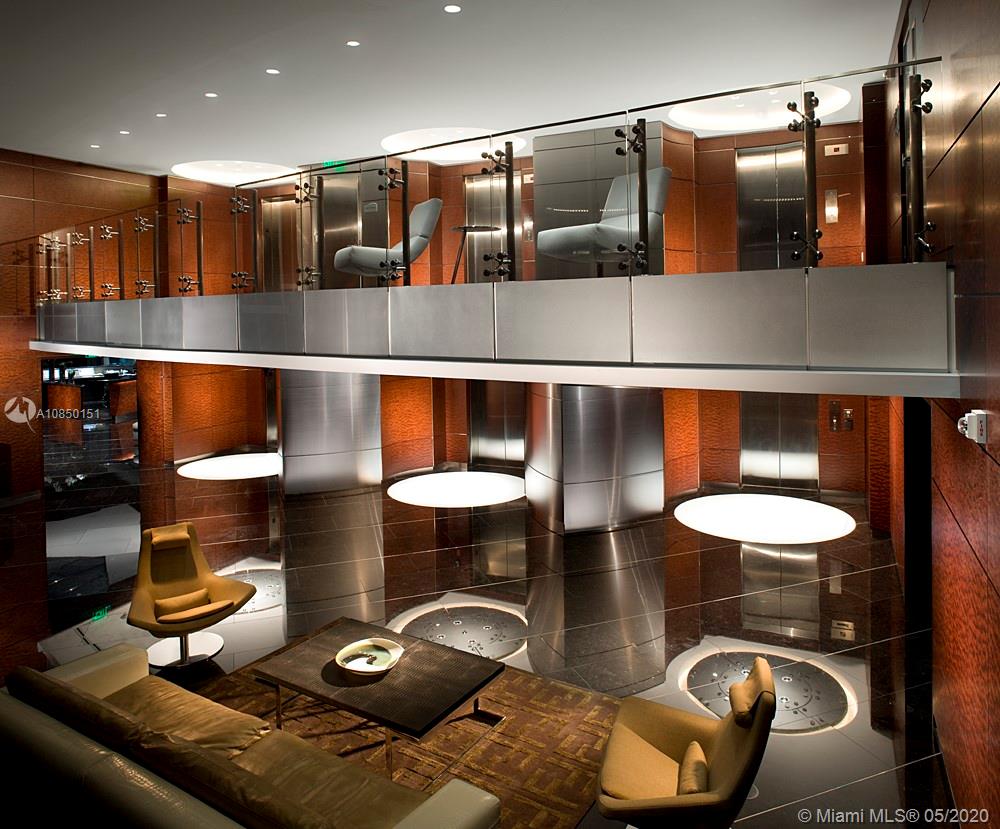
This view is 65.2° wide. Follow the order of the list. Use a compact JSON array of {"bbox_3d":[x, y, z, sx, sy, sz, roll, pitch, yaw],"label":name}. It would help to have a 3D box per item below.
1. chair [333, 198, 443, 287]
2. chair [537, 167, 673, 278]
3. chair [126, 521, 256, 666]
[{"bbox_3d":[-0.922,-1.636,7.033,0.751,0.659,0.530,7,10,4],"label":"chair"},{"bbox_3d":[0.713,-1.375,5.744,0.890,1.024,0.541,6,13,27],"label":"chair"},{"bbox_3d":[-2.829,1.624,6.968,1.088,1.156,1.025,-5,7,-36],"label":"chair"}]
